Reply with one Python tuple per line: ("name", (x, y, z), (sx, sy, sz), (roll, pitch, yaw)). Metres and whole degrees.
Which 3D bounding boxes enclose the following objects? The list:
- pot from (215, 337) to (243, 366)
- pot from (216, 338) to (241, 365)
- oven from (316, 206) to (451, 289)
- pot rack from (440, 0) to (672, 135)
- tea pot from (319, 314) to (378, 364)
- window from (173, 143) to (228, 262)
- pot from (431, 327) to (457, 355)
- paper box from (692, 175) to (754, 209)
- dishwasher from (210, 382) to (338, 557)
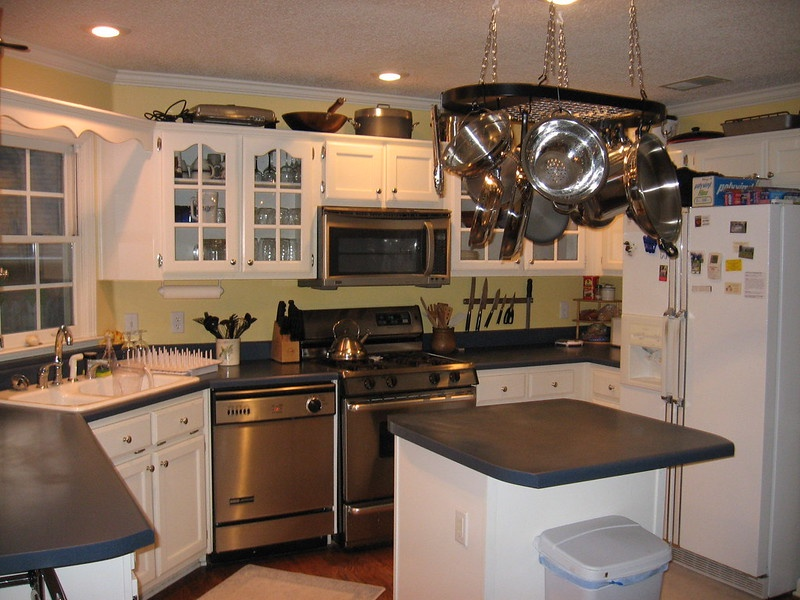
("pot", (-1.055, 0.322, 4.152), (0.157, 0.170, 0.158), (1, 0, 0))
("pot", (-1.060, 0.321, 4.155), (0.150, 0.167, 0.153), (1, 0, 0))
("oven", (-0.114, -0.340, 4.583), (0.889, 0.554, 0.537), (-2, 7, -14))
("pot rack", (0.707, -1.089, 3.031), (0.878, 0.612, 0.536), (2, -4, -17))
("tea pot", (-0.325, 0.253, 4.448), (0.309, 0.280, 0.248), (-1, 1, -37))
("window", (-1.187, -0.656, 4.092), (0.025, 0.512, 0.234), (-14, -11, 36))
("pot", (0.325, 0.287, 4.848), (0.180, 0.183, 0.180), (-1, 6, 0))
("paper box", (1.858, -0.614, 3.785), (0.362, 0.176, 0.173), (-1, 2, 10))
("dishwasher", (-0.784, 0.981, 4.273), (0.864, 1.245, 0.861), (0, -3, -26))
